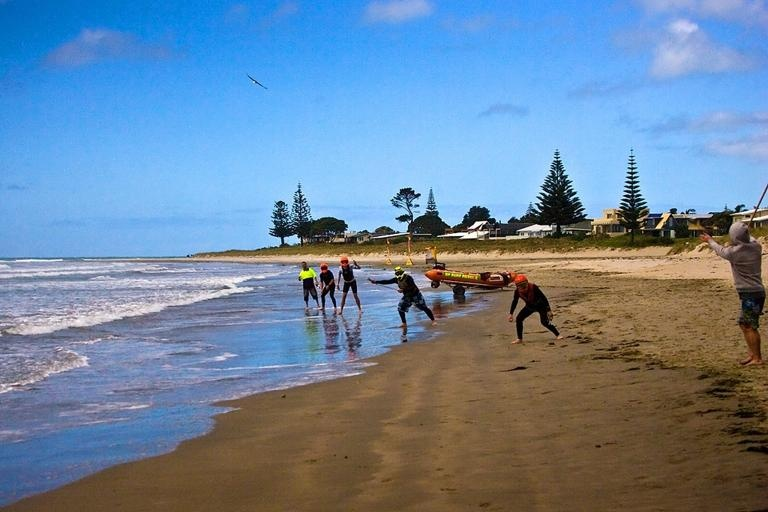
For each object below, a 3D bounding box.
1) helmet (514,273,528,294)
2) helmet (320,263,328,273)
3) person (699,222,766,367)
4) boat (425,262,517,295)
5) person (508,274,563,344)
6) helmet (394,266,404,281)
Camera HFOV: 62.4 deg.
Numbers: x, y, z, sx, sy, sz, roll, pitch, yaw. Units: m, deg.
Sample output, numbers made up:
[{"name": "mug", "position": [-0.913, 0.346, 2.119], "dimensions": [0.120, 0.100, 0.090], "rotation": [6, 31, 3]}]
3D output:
[{"name": "helmet", "position": [2.929, 0.569, 13.389], "dimensions": [0.304, 0.326, 0.394], "rotation": [-16, 4, 32]}, {"name": "helmet", "position": [-1.880, 0.376, 20.434], "dimensions": [0.285, 0.291, 0.346], "rotation": [-3, -5, 0]}, {"name": "person", "position": [5.778, 0.573, 10.195], "dimensions": [1.007, 2.292, 0.640], "rotation": [-11, 11, -36]}, {"name": "boat", "position": [3.526, 0.956, 26.050], "dimensions": [4.381, 1.261, 1.337], "rotation": [2, 4, -8]}, {"name": "person", "position": [3.252, 1.091, 13.619], "dimensions": [0.956, 1.510, 0.655], "rotation": [-5, 9, -6]}, {"name": "helmet", "position": [0.368, 0.484, 16.953], "dimensions": [0.308, 0.332, 0.372], "rotation": [-8, 1, 11]}]
